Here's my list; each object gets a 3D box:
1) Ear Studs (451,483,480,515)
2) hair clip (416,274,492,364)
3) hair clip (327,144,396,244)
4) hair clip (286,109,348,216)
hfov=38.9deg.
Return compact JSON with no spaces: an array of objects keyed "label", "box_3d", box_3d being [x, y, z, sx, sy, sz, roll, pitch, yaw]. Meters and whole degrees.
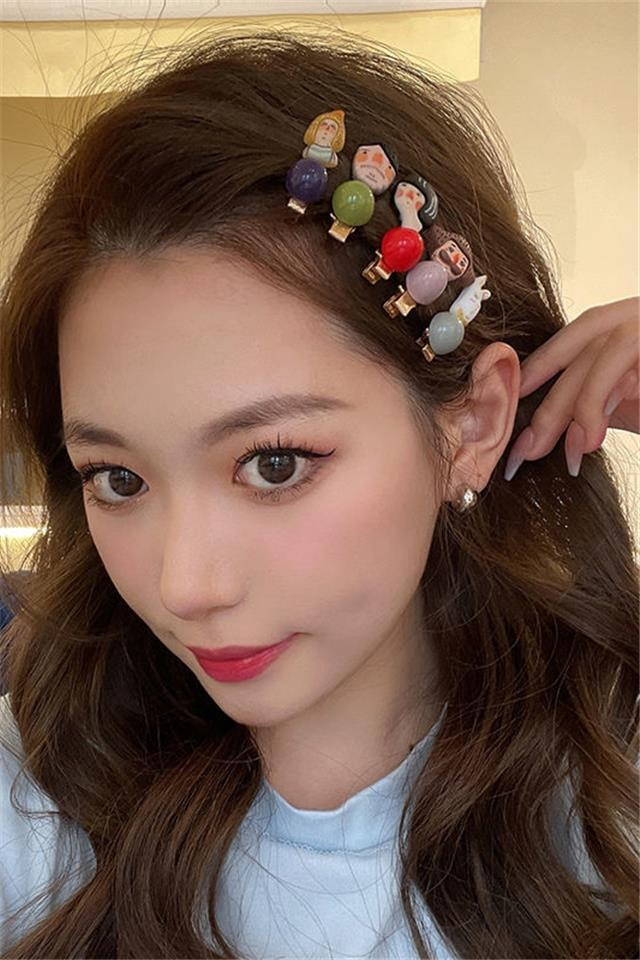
[{"label":"Ear Studs","box_3d":[0.141,0.018,0.897,0.023,0.033,0.021,-2,26,7]},{"label":"hair clip","box_3d":[0.126,-0.150,0.847,0.036,0.031,0.076,2,46,43]},{"label":"hair clip","box_3d":[0.037,-0.254,0.783,0.052,0.084,0.039,28,-10,18]},{"label":"hair clip","box_3d":[-0.003,-0.278,0.777,0.042,0.090,0.040,18,0,17]}]
